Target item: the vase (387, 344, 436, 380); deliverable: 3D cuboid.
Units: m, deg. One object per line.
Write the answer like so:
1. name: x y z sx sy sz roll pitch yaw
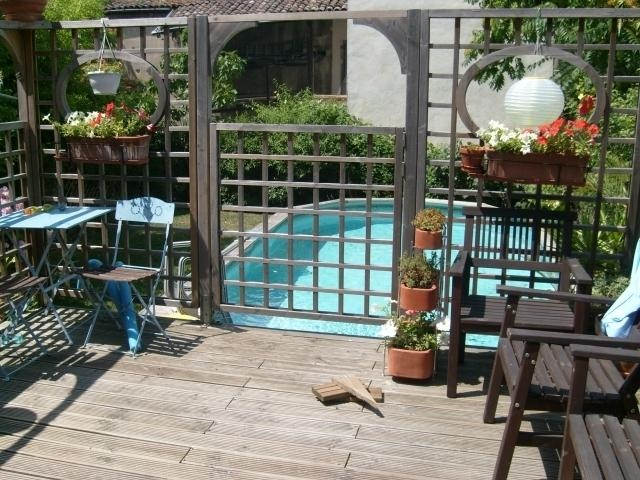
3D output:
1. vase: 0.797 1.047 5.476 0.485 0.295 0.494 4 -9 9

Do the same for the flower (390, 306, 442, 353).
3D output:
1. flower: 0.776 0.755 5.415 0.331 0.167 0.331 -2 19 3

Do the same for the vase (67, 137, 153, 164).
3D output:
1. vase: -1.973 -0.835 6.164 0.750 0.267 0.300 -4 13 -16

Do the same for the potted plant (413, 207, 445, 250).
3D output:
1. potted plant: 0.921 -0.088 5.635 0.296 0.305 0.293 2 10 9

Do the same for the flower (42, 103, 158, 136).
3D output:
1. flower: -2.058 -1.120 6.198 0.965 0.325 0.366 1 12 10

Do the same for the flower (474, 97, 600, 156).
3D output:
1. flower: 1.868 -0.908 5.483 0.550 0.344 0.732 2 18 7

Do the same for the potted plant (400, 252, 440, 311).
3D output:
1. potted plant: 0.773 0.347 5.475 0.394 0.516 0.433 0 8 4

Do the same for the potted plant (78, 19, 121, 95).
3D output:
1. potted plant: -2.035 -1.741 6.231 0.347 0.713 0.344 0 3 0
